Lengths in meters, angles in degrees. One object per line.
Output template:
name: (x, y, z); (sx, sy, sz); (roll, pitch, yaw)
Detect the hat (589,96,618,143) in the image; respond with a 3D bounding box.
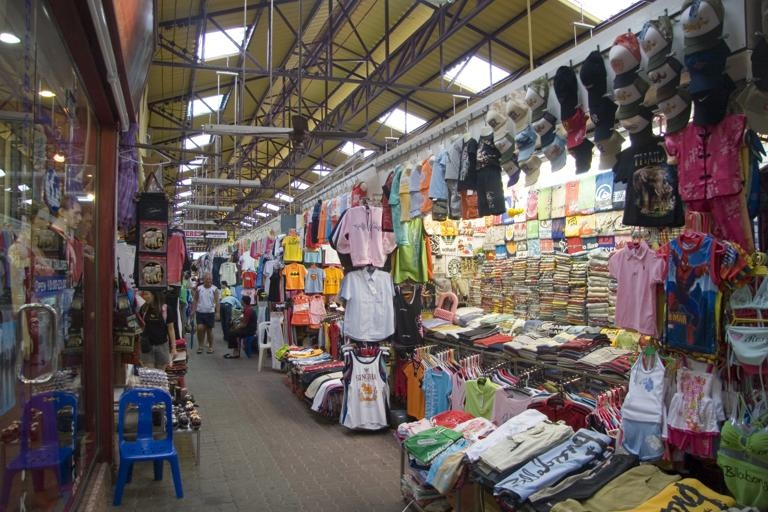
hat: (1.930, -1.212, 5.113); (0.220, 0.375, 0.114); (11, 26, 32)

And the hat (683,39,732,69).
hat: (2.449, -1.483, 4.375); (0.238, 0.162, 0.186); (-2, 3, 29)

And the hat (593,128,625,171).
hat: (2.052, -0.953, 5.289); (0.220, 0.396, 0.235); (14, 10, 33)

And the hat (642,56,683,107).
hat: (2.208, -1.397, 4.715); (0.306, 0.353, 0.300); (-32, 25, -26)

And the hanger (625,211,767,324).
hanger: (2.556, 0.107, 4.688); (0.188, 0.909, 0.858); (6, -9, -17)

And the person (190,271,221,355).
person: (-3.852, 1.230, 12.483); (0.493, 1.834, 1.379); (-2, 6, -19)

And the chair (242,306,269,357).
chair: (-2.728, 1.673, 12.227); (0.454, 0.758, 0.460); (-1, 9, 5)

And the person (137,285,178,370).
person: (-2.872, 0.943, 7.309); (0.432, 1.033, 0.389); (-3, 6, -29)

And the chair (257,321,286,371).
chair: (-2.105, 1.616, 10.583); (0.507, 0.801, 0.532); (-7, 3, -30)

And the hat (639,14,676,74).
hat: (2.159, -1.665, 4.569); (0.242, 0.412, 0.146); (2, 6, 19)

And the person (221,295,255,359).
person: (-3.080, 1.440, 12.320); (0.668, 1.257, 1.299); (-1, 6, -14)

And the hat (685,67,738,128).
hat: (2.522, -1.195, 4.438); (0.277, 0.386, 0.236); (3, 6, 30)

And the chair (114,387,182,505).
chair: (-2.309, 1.860, 5.613); (0.728, 1.199, 0.693); (4, -13, -23)

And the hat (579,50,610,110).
hat: (1.826, -1.526, 5.040); (0.226, 0.487, 0.165); (4, 7, 32)
